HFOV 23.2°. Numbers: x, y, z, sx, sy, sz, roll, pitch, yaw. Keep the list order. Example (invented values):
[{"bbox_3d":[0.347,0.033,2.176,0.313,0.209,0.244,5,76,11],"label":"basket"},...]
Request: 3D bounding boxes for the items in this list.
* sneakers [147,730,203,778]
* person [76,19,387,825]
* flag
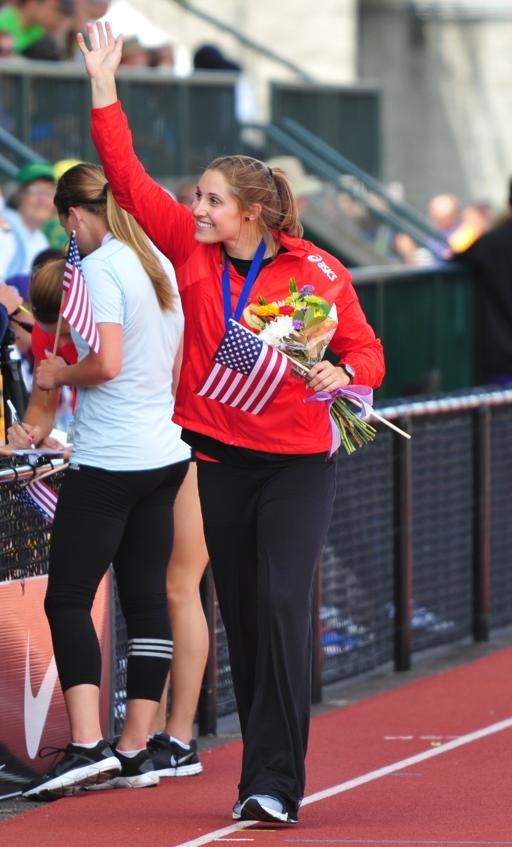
[{"bbox_3d":[-0.254,0.997,3.756,0.207,0.106,0.081,10,-5,-18],"label":"sneakers"},{"bbox_3d":[-0.026,0.089,3.328,0.543,1.861,0.664,-6,10,-45],"label":"person"},{"bbox_3d":[-0.026,-0.142,3.117,0.184,0.209,0.073,24,13,-16],"label":"flag"}]
